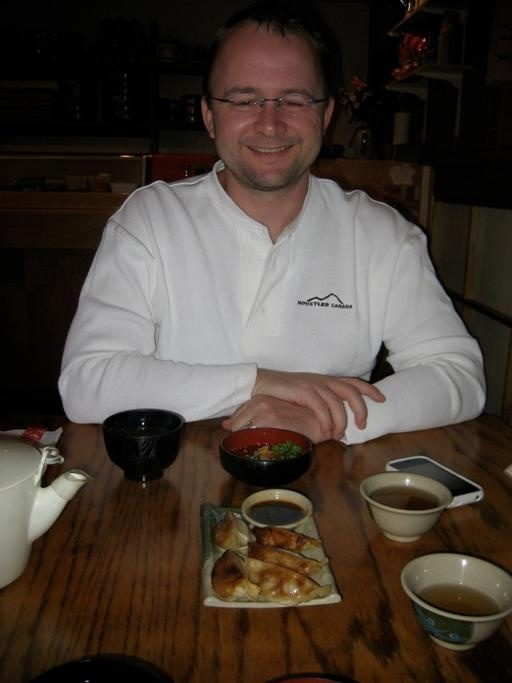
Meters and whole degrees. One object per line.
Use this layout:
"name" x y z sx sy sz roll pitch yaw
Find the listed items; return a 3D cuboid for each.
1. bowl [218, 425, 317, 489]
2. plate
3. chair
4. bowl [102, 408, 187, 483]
"bowl" 0.015 0.208 0.910 0.159 0.060 0.154 0 11 0
"plate" 0.015 0.275 0.681 0.181 0.033 0.237 -2 16 -9
"chair" 1.057 -1.305 4.185 0.709 0.673 0.396 11 55 26
"bowl" -0.200 0.189 0.913 0.138 0.094 0.134 5 10 -1
